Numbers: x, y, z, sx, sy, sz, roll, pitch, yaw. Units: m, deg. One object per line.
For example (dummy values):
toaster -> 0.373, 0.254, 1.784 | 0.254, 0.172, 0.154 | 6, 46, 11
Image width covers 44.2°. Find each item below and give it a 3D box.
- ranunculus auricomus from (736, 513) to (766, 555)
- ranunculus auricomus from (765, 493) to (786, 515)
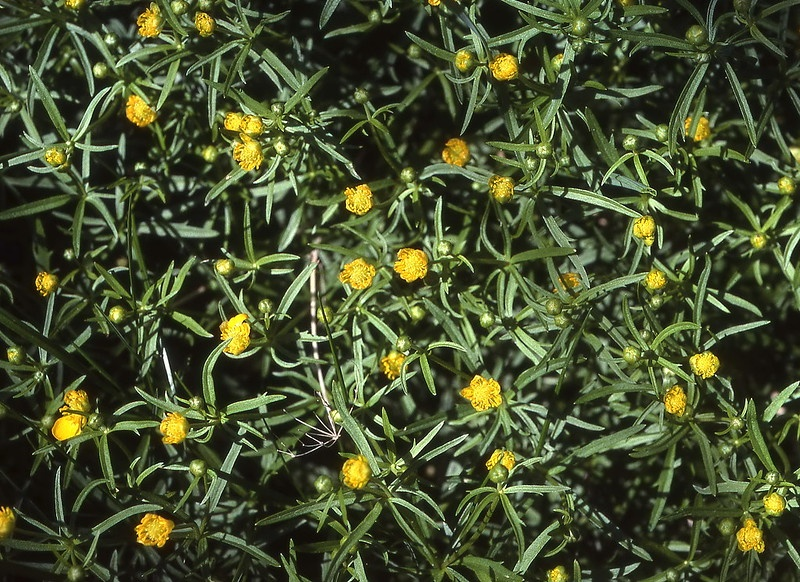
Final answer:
ranunculus auricomus -> 0.728, 0.504, 2.046 | 0.083, 0.071, 0.031 | -17, 21, -13
ranunculus auricomus -> 0.774, 0.436, 2.033 | 0.022, 0.040, 0.043 | 7, 49, -53
